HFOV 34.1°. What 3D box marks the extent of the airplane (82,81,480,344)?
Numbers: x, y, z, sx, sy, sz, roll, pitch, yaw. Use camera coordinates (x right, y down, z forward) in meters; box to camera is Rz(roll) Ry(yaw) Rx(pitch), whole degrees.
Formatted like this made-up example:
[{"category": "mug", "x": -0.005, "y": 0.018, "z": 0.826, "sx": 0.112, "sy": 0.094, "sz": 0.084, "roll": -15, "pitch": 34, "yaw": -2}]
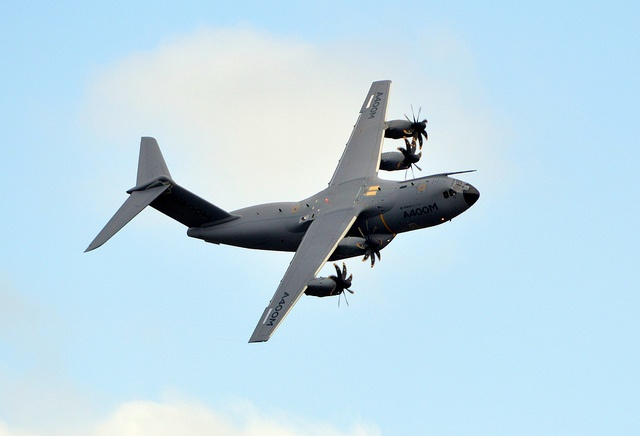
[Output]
[{"category": "airplane", "x": -1.186, "y": -0.182, "z": 66.708, "sx": 17.730, "sy": 18.932, "sz": 6.431, "roll": -7, "pitch": -37, "yaw": 24}]
